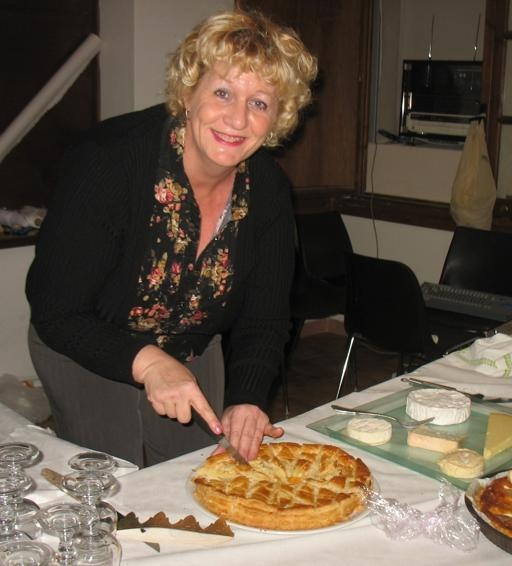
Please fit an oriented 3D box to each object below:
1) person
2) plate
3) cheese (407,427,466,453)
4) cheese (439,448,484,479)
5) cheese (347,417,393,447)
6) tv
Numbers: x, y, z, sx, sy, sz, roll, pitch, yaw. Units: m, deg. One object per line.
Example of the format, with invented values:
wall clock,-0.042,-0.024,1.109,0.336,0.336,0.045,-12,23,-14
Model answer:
person,-0.167,0.061,1.266,0.538,1.139,0.515,6,18,-16
plate,0.037,0.296,0.854,0.273,0.045,0.228,1,8,11
cheese,0.314,0.283,1.002,0.088,0.029,0.051,7,11,42
cheese,0.336,0.294,0.922,0.079,0.024,0.070,-7,11,-38
cheese,0.212,0.275,1.053,0.079,0.027,0.095,2,9,20
tv,1.307,-1.395,3.991,0.535,0.448,0.316,1,9,16
